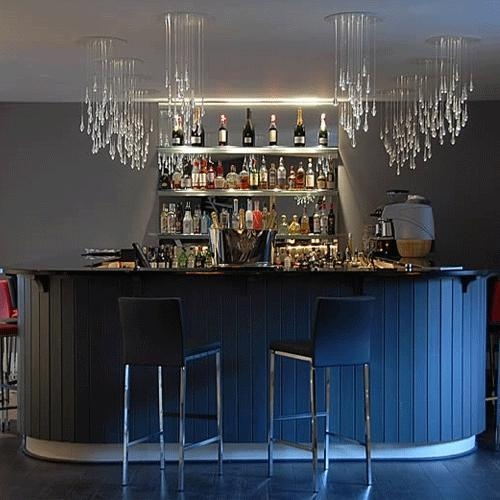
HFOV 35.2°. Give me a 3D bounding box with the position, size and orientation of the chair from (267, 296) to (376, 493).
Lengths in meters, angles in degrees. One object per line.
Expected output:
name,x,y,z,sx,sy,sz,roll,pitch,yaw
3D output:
chair,0.408,0.800,4.462,0.477,1.139,0.569,1,7,-8

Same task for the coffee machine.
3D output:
coffee machine,1.249,-0.145,6.341,0.455,0.579,0.381,0,0,-7

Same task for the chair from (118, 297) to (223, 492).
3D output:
chair,-0.455,0.805,4.457,0.392,1.101,0.430,-1,4,32

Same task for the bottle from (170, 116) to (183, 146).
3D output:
bottle,-0.738,-1.210,8.005,0.117,0.293,0.409,-2,1,-5

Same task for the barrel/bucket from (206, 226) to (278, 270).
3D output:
barrel/bucket,-0.048,-0.015,4.869,0.390,0.205,0.176,-3,1,1

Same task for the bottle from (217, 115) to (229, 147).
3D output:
bottle,-0.278,-1.207,7.954,0.100,0.291,0.311,-2,1,-2

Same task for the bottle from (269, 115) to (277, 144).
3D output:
bottle,0.227,-1.205,7.956,0.103,0.281,0.294,-2,1,2

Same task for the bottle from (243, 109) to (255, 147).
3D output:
bottle,-0.019,-1.212,8.032,0.135,0.334,0.106,-2,1,0

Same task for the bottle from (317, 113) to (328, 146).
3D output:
bottle,0.748,-1.215,8.091,0.101,0.288,0.096,-2,1,0

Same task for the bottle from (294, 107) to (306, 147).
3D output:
bottle,0.498,-1.233,8.025,0.125,0.335,0.227,-2,1,6
